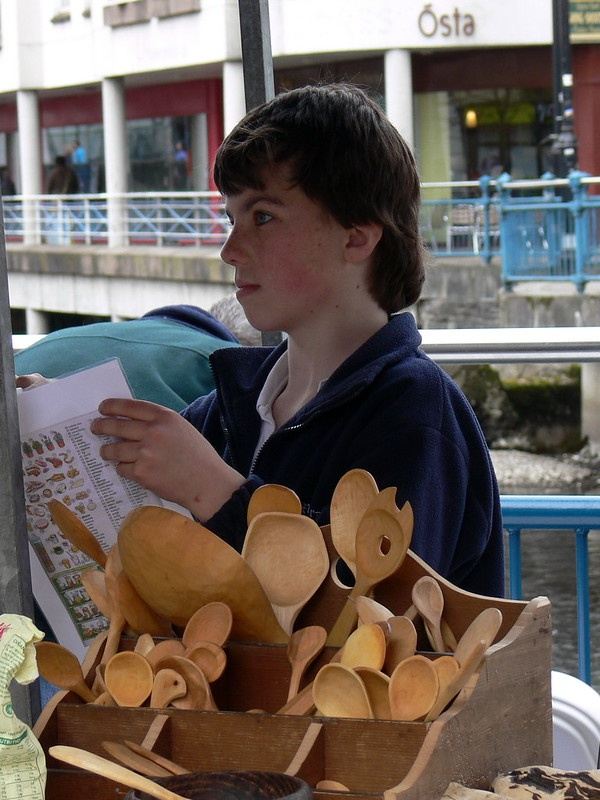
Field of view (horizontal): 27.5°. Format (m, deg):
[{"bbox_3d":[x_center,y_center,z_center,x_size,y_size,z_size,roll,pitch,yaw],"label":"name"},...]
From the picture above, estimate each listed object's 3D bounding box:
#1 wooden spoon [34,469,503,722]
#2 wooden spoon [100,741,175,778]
[{"bbox_3d":[-0.023,0.159,1.074,0.362,0.118,0.205,0,8,14],"label":"wooden spoon"},{"bbox_3d":[-0.123,0.272,0.931,0.066,0.014,0.013,19,-12,26],"label":"wooden spoon"}]
